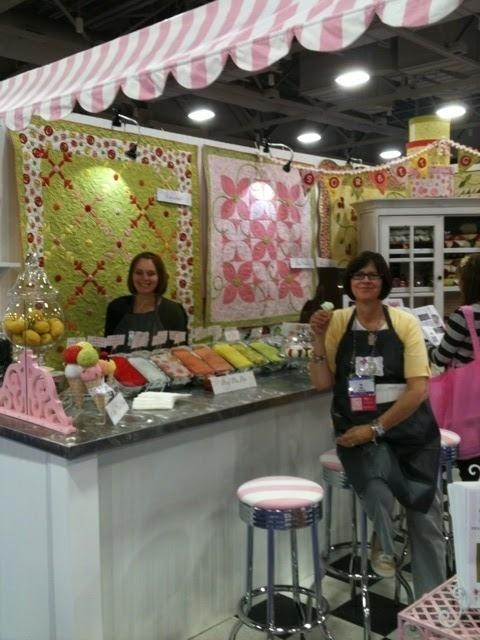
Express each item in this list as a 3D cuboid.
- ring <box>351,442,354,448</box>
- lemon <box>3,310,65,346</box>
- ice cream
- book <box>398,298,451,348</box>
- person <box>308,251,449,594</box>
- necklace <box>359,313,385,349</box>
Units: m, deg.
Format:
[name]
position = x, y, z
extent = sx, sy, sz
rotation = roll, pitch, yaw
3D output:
[ring]
position = 0.455, 0.507, 2.039
extent = 0.017, 0.016, 0.017
rotation = 1, -18, 0
[lemon]
position = -0.781, 0.041, 1.944
extent = 0.164, 0.088, 0.153
rotation = 4, -6, -45
[ice cream]
position = -0.616, 0.230, 2.027
extent = 0.182, 0.281, 0.202
rotation = -3, 0, 7
[book]
position = 1.371, 0.025, 3.677
extent = 0.423, 0.399, 0.148
rotation = -15, -15, -44
[person]
position = 0.524, 0.419, 2.061
extent = 0.531, 1.410, 0.500
rotation = -3, 0, 20
[necklace]
position = 0.554, 0.049, 2.114
extent = 0.108, 0.137, 0.034
rotation = 6, -4, 18
